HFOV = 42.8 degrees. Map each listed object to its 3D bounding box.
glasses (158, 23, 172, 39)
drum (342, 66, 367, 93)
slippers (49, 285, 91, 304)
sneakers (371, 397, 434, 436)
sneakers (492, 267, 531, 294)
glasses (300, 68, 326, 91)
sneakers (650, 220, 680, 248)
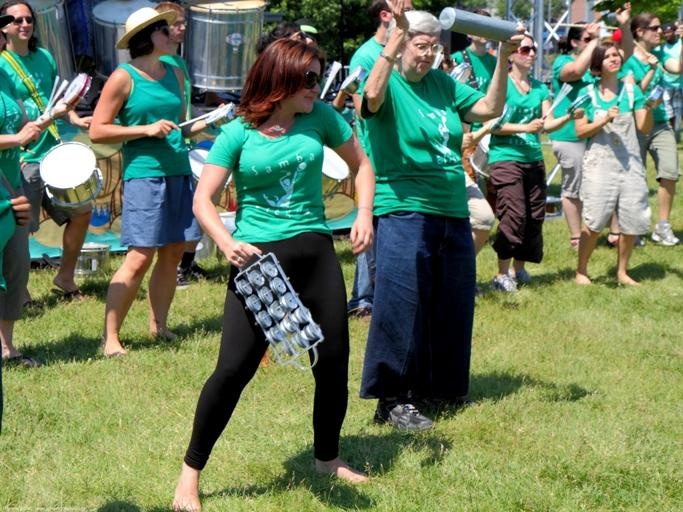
[{"bbox_3d":[-1.316,-1.665,6.428,0.066,0.094,0.071,15,22,38],"label":"glasses"},{"bbox_3d":[0.083,-1.110,5.499,0.150,0.157,0.349,1,16,2],"label":"drum"},{"bbox_3d":[-2.543,0.349,8.025,0.362,0.087,0.148,12,11,42],"label":"slippers"},{"bbox_3d":[0.394,1.022,5.543,0.393,0.158,0.149,0,-2,33],"label":"sneakers"},{"bbox_3d":[1.633,0.240,8.331,0.170,0.200,0.462,-3,-4,-5],"label":"sneakers"},{"bbox_3d":[-0.150,-0.955,4.700,0.061,0.092,0.199,5,17,19],"label":"glasses"},{"bbox_3d":[3.691,-0.276,10.001,0.173,0.211,0.396,-8,18,-28],"label":"sneakers"}]
